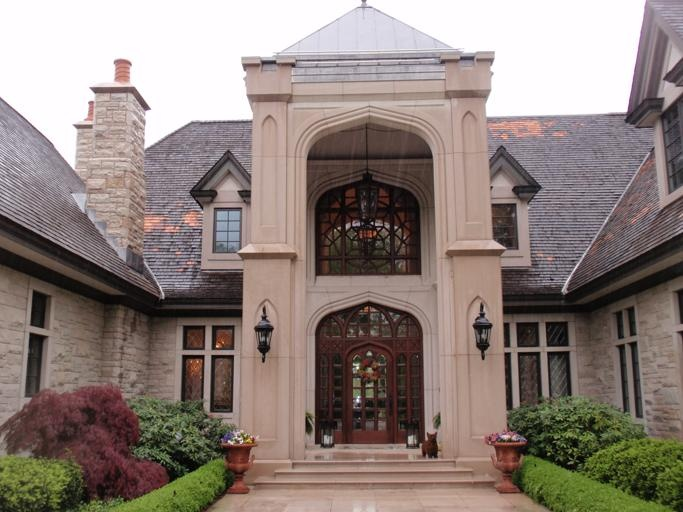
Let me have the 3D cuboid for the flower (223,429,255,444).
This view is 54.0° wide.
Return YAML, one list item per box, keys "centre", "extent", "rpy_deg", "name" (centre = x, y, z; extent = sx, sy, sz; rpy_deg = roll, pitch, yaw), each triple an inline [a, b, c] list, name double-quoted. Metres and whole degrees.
- centre: [-1.915, 3.379, 12.441]
  extent: [0.618, 0.275, 0.470]
  rpy_deg: [1, -18, -8]
  name: "flower"

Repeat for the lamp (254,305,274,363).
- centre: [-1.536, 1.519, 13.155]
  extent: [0.378, 1.077, 0.474]
  rpy_deg: [0, -18, -6]
  name: "lamp"

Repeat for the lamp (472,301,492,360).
- centre: [2.793, 1.457, 13.199]
  extent: [0.380, 1.112, 0.470]
  rpy_deg: [-6, -18, 12]
  name: "lamp"

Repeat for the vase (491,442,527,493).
- centre: [3.010, 3.899, 12.375]
  extent: [0.751, 0.891, 0.739]
  rpy_deg: [-4, -17, 18]
  name: "vase"

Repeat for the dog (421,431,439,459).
- centre: [1.775, 3.863, 13.594]
  extent: [0.310, 0.498, 0.564]
  rpy_deg: [-3, -18, 5]
  name: "dog"

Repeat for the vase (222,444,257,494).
- centre: [-1.943, 3.958, 12.421]
  extent: [0.749, 0.867, 0.765]
  rpy_deg: [-11, -18, 23]
  name: "vase"
